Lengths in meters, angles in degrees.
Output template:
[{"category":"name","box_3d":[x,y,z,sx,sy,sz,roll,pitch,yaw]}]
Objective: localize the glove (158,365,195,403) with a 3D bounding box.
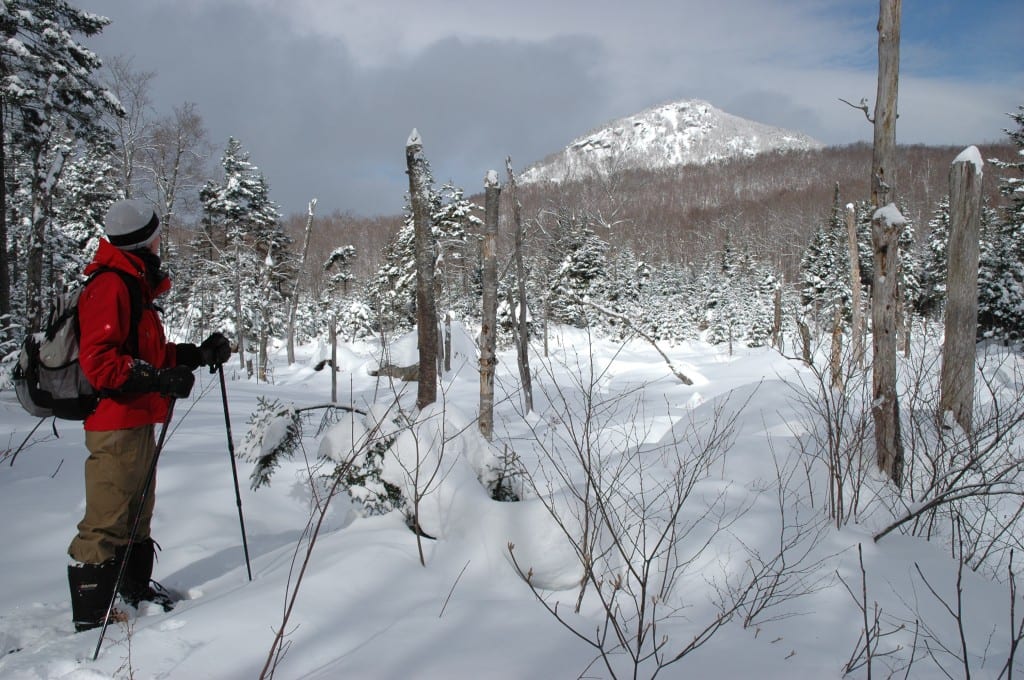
[{"category":"glove","box_3d":[-4.452,0.581,11.907,0.452,0.486,0.361,-2,4,7]}]
